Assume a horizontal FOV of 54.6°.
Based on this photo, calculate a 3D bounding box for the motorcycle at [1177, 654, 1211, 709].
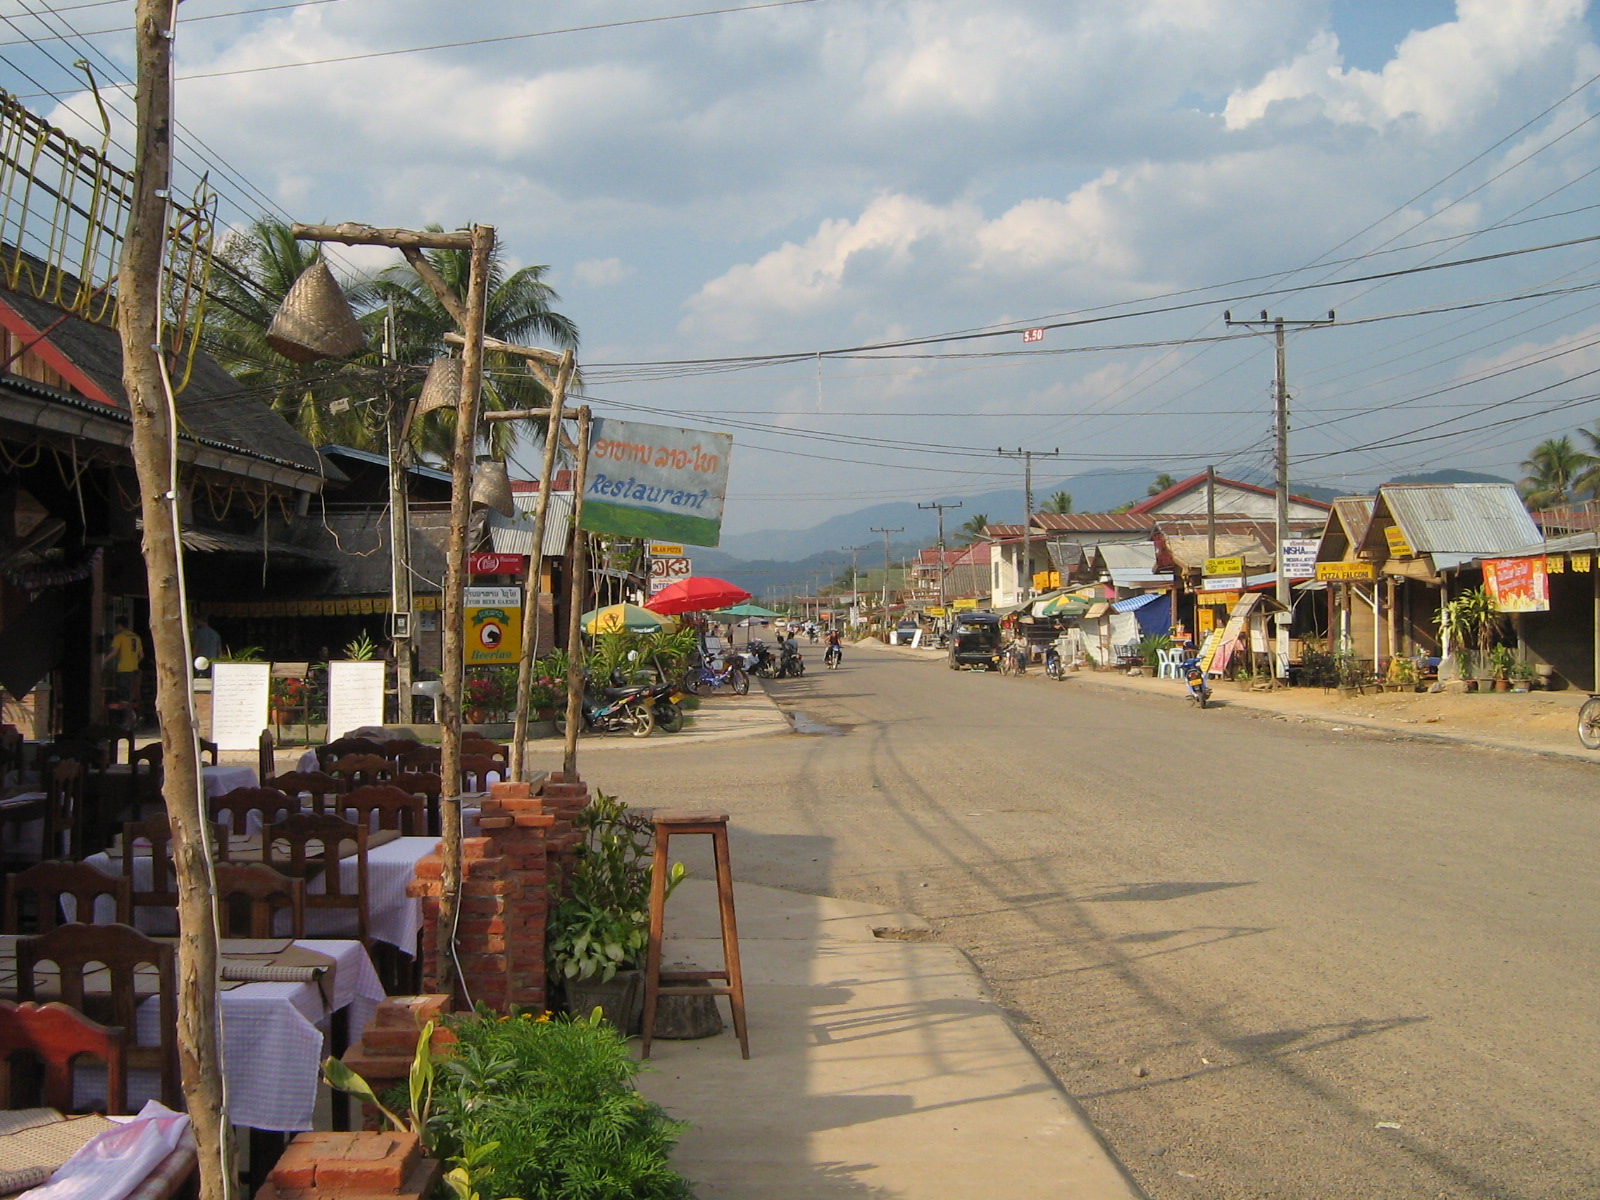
[{"bbox_3d":[8.967,1.838,35.228,0.713,0.909,1.380,-9,-9,2],"label":"motorcycle"}]

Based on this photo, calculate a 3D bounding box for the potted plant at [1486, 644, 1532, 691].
[{"bbox_3d":[13.466,1.286,29.130,0.696,0.968,0.810,-3,3,-17],"label":"potted plant"}]

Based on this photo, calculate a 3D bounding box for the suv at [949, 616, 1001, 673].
[{"bbox_3d":[6.259,1.623,55.958,1.259,1.548,2.591,0,-8,3],"label":"suv"}]

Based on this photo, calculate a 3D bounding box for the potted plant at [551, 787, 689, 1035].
[{"bbox_3d":[-1.070,2.008,9.299,0.764,1.271,0.683,-5,-10,37],"label":"potted plant"}]
